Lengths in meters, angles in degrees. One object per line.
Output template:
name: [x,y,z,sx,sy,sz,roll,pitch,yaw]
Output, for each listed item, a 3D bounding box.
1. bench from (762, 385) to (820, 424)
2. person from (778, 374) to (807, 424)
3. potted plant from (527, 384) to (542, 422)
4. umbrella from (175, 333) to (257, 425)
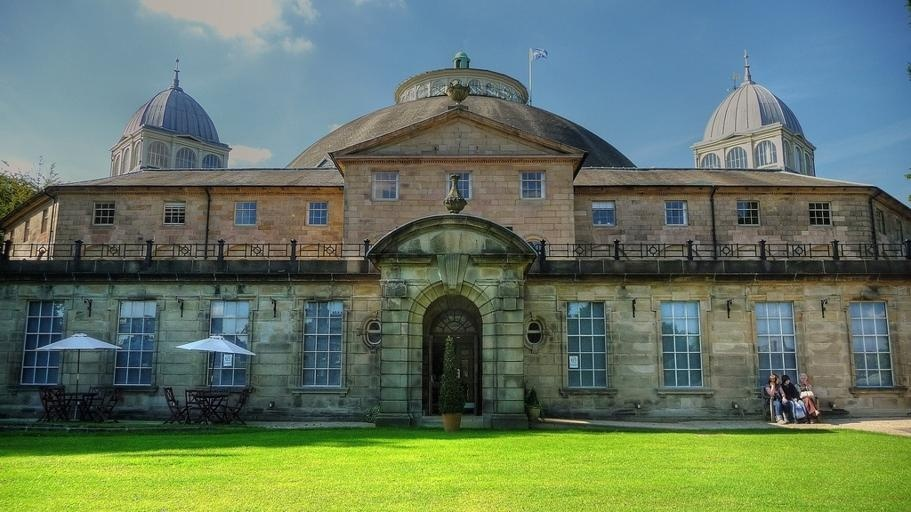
bench: [17.820,7.652,44.492,2.739,2.336,1.934,0,-13,-2]
person: [17.506,7.418,43.901,1.214,2.406,0.660,-5,-15,19]
potted plant: [4.046,7.702,44.272,0.951,1.555,0.843,-1,-1,-7]
umbrella: [-12.439,5.336,44.113,3.768,2.752,2.775,2,-13,-12]
